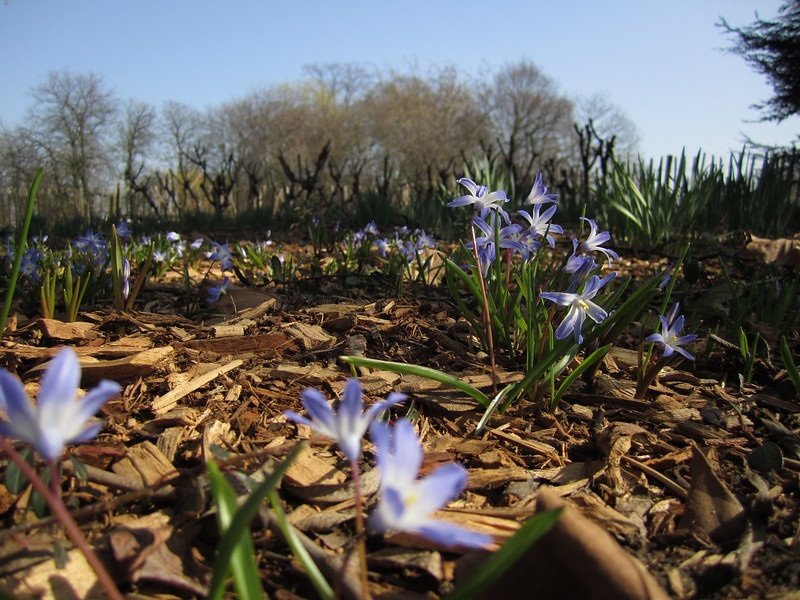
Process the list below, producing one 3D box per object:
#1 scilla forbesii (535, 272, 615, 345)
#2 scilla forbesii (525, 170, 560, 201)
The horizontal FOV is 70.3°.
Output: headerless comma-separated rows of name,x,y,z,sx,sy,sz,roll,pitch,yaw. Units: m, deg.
scilla forbesii,0.634,-0.024,2.035,0.234,0.288,0.117,21,11,6
scilla forbesii,0.573,-0.448,2.307,0.093,0.136,0.276,4,14,18
